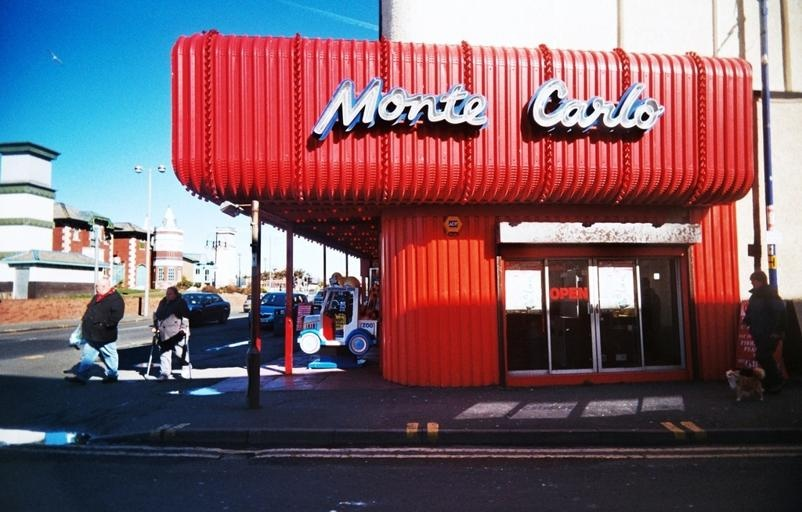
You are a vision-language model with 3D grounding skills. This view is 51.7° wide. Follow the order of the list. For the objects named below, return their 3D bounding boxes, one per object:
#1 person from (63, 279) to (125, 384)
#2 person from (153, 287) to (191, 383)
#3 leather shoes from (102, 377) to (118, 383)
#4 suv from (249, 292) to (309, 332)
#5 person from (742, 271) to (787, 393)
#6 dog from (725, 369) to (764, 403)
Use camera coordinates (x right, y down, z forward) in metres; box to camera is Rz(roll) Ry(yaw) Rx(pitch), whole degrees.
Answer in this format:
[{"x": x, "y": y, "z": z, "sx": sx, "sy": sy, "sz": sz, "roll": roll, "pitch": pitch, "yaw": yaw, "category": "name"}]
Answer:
[{"x": -8.461, "y": 2.078, "z": 23.307, "sx": 1.216, "sy": 2.960, "sz": 0.805, "roll": 1, "pitch": -3, "yaw": -18, "category": "person"}, {"x": -6.634, "y": 2.207, "z": 24.062, "sx": 1.029, "sy": 2.673, "sz": 0.738, "roll": 1, "pitch": -3, "yaw": -18, "category": "person"}, {"x": -8.244, "y": 3.496, "z": 23.559, "sx": 0.190, "sy": 0.160, "sz": 0.471, "roll": -12, "pitch": -4, "yaw": 18, "category": "leather shoes"}, {"x": -5.499, "y": 2.551, "z": 36.940, "sx": 1.844, "sy": 1.704, "sz": 3.352, "roll": 0, "pitch": -7, "yaw": 9, "category": "suv"}, {"x": 9.466, "y": 1.924, "z": 21.582, "sx": 0.943, "sy": 3.114, "sz": 0.363, "roll": -1, "pitch": -3, "yaw": 23, "category": "person"}, {"x": 8.972, "y": 3.290, "z": 21.583, "sx": 0.853, "sy": 0.765, "sz": 1.215, "roll": -1, "pitch": -3, "yaw": 23, "category": "dog"}]
